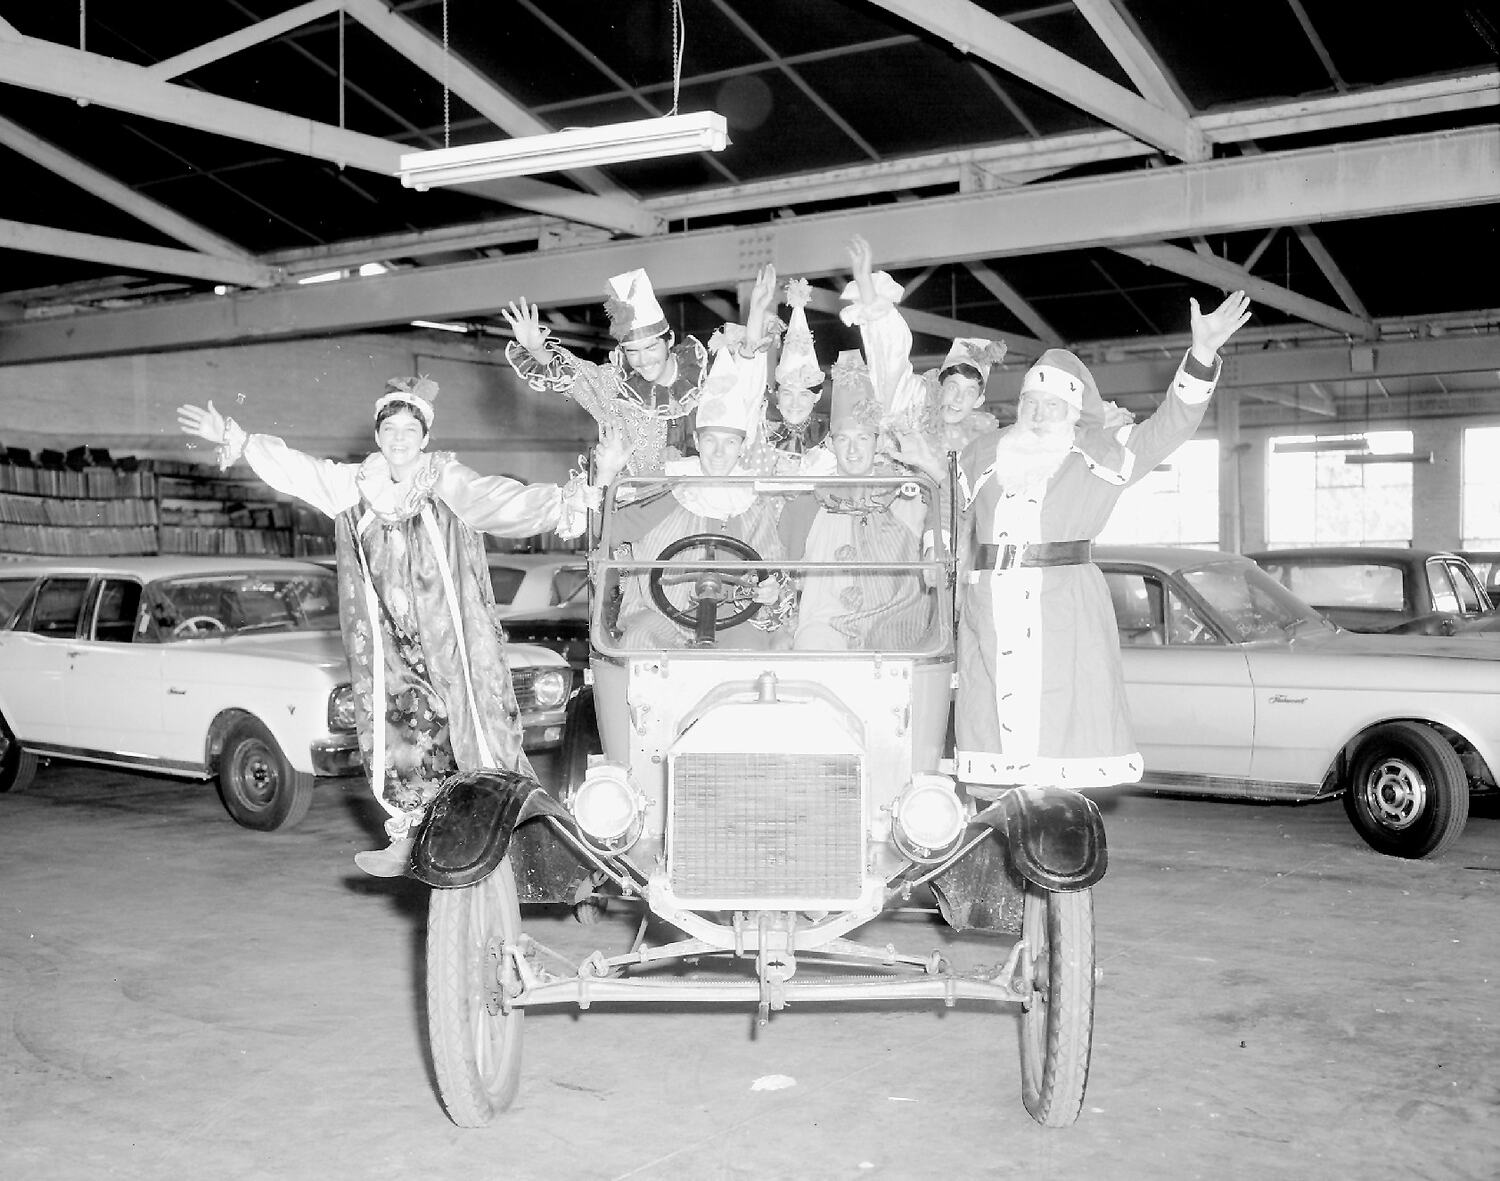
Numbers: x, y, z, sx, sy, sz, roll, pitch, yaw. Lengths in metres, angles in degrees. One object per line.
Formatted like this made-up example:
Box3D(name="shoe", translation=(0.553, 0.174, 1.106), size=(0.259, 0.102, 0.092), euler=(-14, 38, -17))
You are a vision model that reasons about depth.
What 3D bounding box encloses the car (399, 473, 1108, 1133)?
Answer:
Box3D(name="car", translation=(0.042, 0.648, 4.487), size=(1.789, 1.570, 3.053), euler=(0, 0, 0))
